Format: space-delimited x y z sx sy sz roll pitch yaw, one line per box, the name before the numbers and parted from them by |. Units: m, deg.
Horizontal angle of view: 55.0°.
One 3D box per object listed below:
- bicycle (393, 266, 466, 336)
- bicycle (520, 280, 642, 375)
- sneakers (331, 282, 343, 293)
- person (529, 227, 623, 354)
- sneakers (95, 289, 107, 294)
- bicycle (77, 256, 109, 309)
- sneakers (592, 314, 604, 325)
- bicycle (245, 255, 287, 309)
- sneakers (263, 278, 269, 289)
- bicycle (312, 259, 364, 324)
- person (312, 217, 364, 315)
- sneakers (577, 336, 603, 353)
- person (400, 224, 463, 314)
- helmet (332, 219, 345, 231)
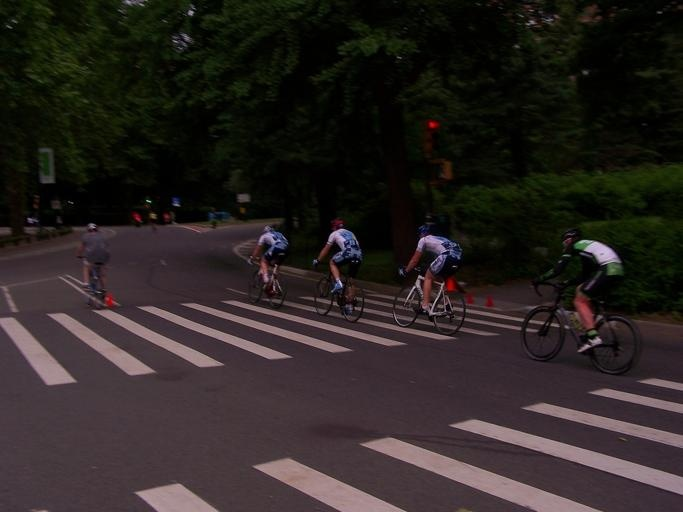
bicycle | 1.693 0.921 13.283 2.262 1.163 0.501 12 -3 -43
bicycle | 3.836 1.189 10.692 0.673 1.247 2.341 6 -2 -31
sneakers | -0.118 0.696 14.644 0.134 0.258 0.399 -4 7 -37
person | 3.898 0.554 10.554 1.032 1.935 0.739 4 7 33
sneakers | -5.890 0.859 16.072 0.308 0.116 0.129 4 7 37
bicycle | -6.124 0.765 16.375 0.679 0.718 1.287 -4 23 -28
sneakers | 4.037 0.988 10.332 0.086 0.132 0.211 -2 6 -18
bicycle | -1.719 0.793 16.971 0.720 0.918 1.741 -10 16 -34
sneakers | -1.892 0.683 16.356 0.098 0.213 0.170 2 -2 -12
bicycle | -0.087 0.770 14.568 0.747 1.145 2.003 8 -6 33
person | -0.081 0.216 14.951 1.029 2.062 1.254 0 6 -2
sneakers | 3.884 1.386 10.360 0.473 0.187 0.153 -26 0 25
person | 1.908 0.312 13.392 0.986 1.751 0.674 2 6 21
helmet | -0.079 -0.740 15.226 0.250 0.258 0.303 -11 29 -32
